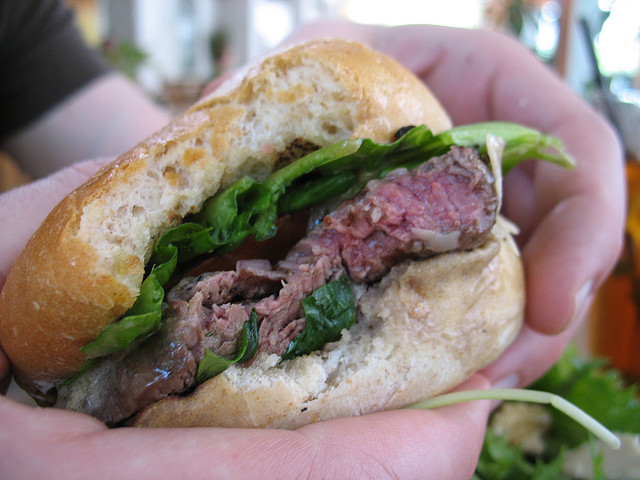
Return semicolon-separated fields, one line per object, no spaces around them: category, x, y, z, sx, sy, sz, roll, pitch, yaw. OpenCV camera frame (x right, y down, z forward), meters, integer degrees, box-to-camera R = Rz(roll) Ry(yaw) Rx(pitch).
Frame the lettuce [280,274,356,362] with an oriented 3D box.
lettuce;0.016;0.275;1.957;0.207;0.087;0.411;-16;17;7

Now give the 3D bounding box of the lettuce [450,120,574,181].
lettuce;0.683;-0.333;2.129;0.350;0.261;0.108;1;4;-33
